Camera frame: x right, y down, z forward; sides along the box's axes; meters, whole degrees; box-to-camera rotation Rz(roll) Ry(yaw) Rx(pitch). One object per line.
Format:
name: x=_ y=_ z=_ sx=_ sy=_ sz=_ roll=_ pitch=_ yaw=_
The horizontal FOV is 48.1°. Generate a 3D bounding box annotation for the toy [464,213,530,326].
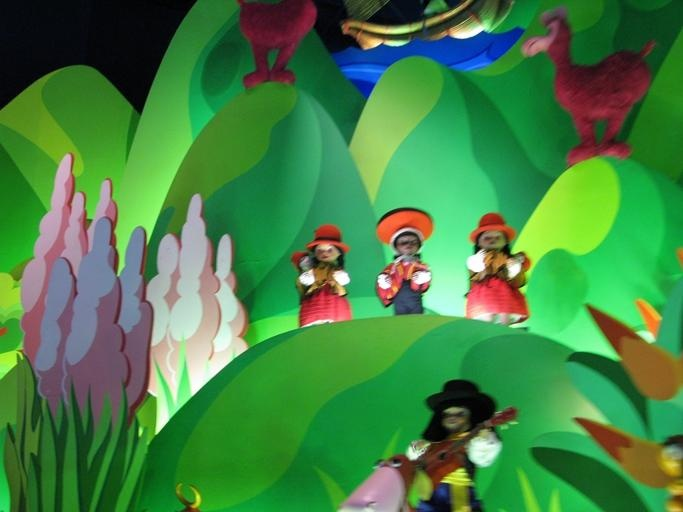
toy: x=1.072 y=0.157 z=5.242 sx=0.421 sy=0.625 sz=0.409 roll=0 pitch=-36 yaw=8

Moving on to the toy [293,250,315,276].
toy: x=-0.274 y=0.054 z=5.562 sx=0.123 sy=0.170 sz=0.061 roll=-28 pitch=-46 yaw=4

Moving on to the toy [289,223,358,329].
toy: x=-0.161 y=0.268 z=5.502 sx=0.414 sy=0.938 sz=0.384 roll=2 pitch=-12 yaw=17

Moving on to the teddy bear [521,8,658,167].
teddy bear: x=1.713 y=-1.160 z=5.336 sx=0.792 sy=0.963 sz=0.631 roll=3 pitch=-36 yaw=5

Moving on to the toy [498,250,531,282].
toy: x=1.183 y=0.086 z=5.220 sx=0.142 sy=0.165 sz=0.222 roll=-35 pitch=-37 yaw=26

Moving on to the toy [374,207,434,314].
toy: x=0.439 y=0.133 z=5.405 sx=0.413 sy=0.925 sz=0.412 roll=2 pitch=-36 yaw=6
